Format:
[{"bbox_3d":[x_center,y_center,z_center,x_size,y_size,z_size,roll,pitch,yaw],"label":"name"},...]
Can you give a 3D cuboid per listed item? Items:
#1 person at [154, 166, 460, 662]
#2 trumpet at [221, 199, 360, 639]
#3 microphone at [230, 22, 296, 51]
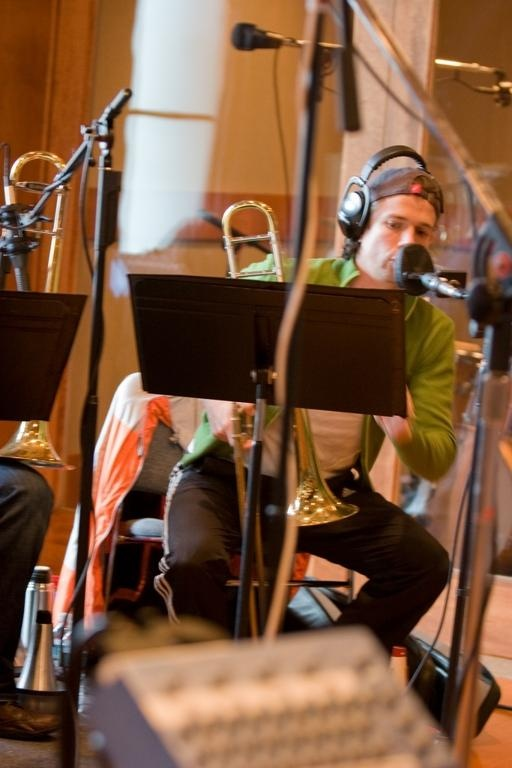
[{"bbox_3d":[0.213,0.205,2.111,0.773,1.634,0.824,6,6,2],"label":"person"},{"bbox_3d":[0.013,0.030,1.909,0.351,1.165,0.363,-2,-8,-37],"label":"trumpet"},{"bbox_3d":[0.017,-0.925,1.831,0.169,0.070,0.056,6,-9,26],"label":"microphone"}]
